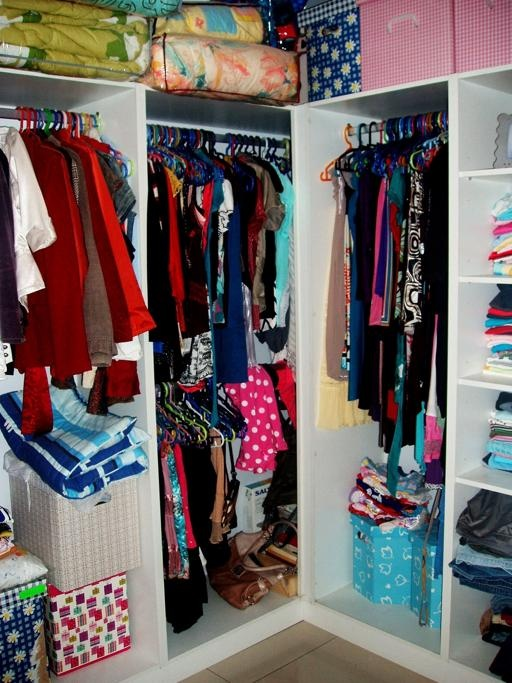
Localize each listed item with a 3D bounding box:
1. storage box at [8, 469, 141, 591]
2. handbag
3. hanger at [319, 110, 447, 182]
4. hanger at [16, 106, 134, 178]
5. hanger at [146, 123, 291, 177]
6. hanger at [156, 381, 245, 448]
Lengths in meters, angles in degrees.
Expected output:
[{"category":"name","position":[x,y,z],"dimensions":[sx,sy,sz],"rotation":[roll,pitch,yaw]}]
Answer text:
[{"category":"storage box","position":[-0.581,0.551,1.876],"dimensions":[0.307,0.429,0.414],"rotation":[-7,10,-37]},{"category":"handbag","position":[-0.037,0.960,2.381],"dimensions":[0.229,0.103,0.226],"rotation":[-18,20,-37]},{"category":"hanger","position":[0.460,-0.681,1.987],"dimensions":[0.275,0.122,0.380],"rotation":[-23,27,-33]},{"category":"hanger","position":[-0.513,-0.550,1.611],"dimensions":[0.298,0.208,0.242],"rotation":[-10,10,-25]},{"category":"hanger","position":[-0.144,-0.642,2.116],"dimensions":[0.674,0.231,0.198],"rotation":[-11,15,-43]},{"category":"hanger","position":[-0.229,0.264,2.006],"dimensions":[0.245,0.260,0.083],"rotation":[-15,2,-28]}]
